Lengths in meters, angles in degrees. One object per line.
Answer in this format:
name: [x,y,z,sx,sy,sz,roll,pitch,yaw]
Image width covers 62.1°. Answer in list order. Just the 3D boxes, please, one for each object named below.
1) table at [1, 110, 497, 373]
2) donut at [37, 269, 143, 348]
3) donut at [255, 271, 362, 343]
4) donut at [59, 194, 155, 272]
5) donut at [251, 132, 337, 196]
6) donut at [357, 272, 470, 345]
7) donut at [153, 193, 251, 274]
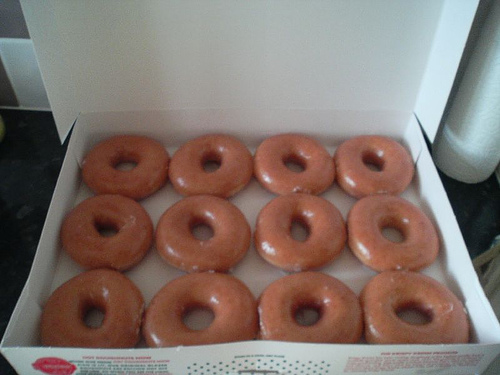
table: [-0.135,0.014,1.956,1.952,0.231,1.136,1,55,-3]
donut: [-0.552,0.440,1.503,0.344,0.099,0.278,1,54,1]
donut: [0.213,0.438,1.509,0.375,0.069,0.256,2,54,1]
donut: [-0.570,0.183,1.667,0.360,0.113,0.323,-5,54,-4]
donut: [0.202,-0.097,1.911,0.372,0.097,0.345,28,59,19]
donut: [0.596,0.447,1.525,0.379,0.099,0.269,0,54,0]
donut: [-0.190,0.201,1.678,0.383,0.100,0.365,-23,57,-16]
